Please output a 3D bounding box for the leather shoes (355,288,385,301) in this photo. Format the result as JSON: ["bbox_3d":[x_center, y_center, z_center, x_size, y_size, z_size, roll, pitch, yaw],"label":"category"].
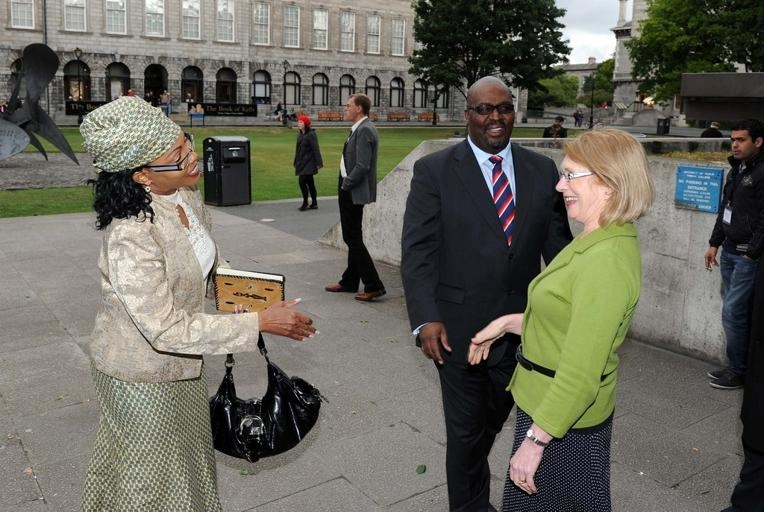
[{"bbox_3d":[-0.106,0.508,8.182,0.437,0.162,0.156,-1,7,3],"label":"leather shoes"}]

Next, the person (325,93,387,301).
[{"bbox_3d":[-0.286,-0.795,8.318,0.717,2.697,1.201,-1,16,-2],"label":"person"}]

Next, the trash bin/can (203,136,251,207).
[{"bbox_3d":[-3.629,-1.978,14.822,1.330,1.661,1.194,-3,-24,6],"label":"trash bin/can"}]

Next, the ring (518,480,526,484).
[{"bbox_3d":[0.706,1.135,3.069,0.029,0.006,0.028,-1,-1,0],"label":"ring"}]

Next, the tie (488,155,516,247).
[{"bbox_3d":[0.721,-0.334,3.711,0.147,0.528,0.153,0,-1,-2],"label":"tie"}]

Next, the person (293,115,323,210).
[{"bbox_3d":[-1.690,-2.181,14.753,1.145,2.162,0.710,-1,2,-29],"label":"person"}]

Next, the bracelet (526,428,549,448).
[{"bbox_3d":[0.769,0.899,3.013,0.082,0.053,0.084,31,1,-31],"label":"bracelet"}]

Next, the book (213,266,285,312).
[{"bbox_3d":[-0.722,0.176,3.615,0.507,0.248,0.454,2,9,3],"label":"book"}]

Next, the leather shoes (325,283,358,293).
[{"bbox_3d":[-0.512,0.459,8.447,0.397,0.157,0.160,5,2,7],"label":"leather shoes"}]

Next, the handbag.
[{"bbox_3d":[-0.627,0.878,3.659,0.576,0.606,0.531,-4,-9,5],"label":"handbag"}]
